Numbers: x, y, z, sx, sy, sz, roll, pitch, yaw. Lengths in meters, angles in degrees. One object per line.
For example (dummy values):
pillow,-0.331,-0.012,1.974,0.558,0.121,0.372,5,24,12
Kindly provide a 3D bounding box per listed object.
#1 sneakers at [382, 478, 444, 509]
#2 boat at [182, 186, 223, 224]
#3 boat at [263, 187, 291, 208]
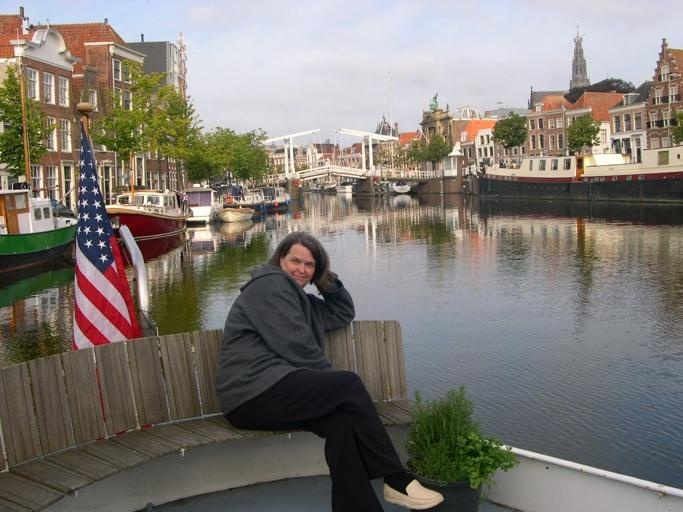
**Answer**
sneakers,0.448,1.480,4.350,0.314,0.139,0.188,0,5,18
boat,-8.523,-3.109,41.789,1.692,1.794,4.658,-1,8,-1
boat,-6.023,-5.247,62.116,1.849,1.968,6.576,-2,7,-2
